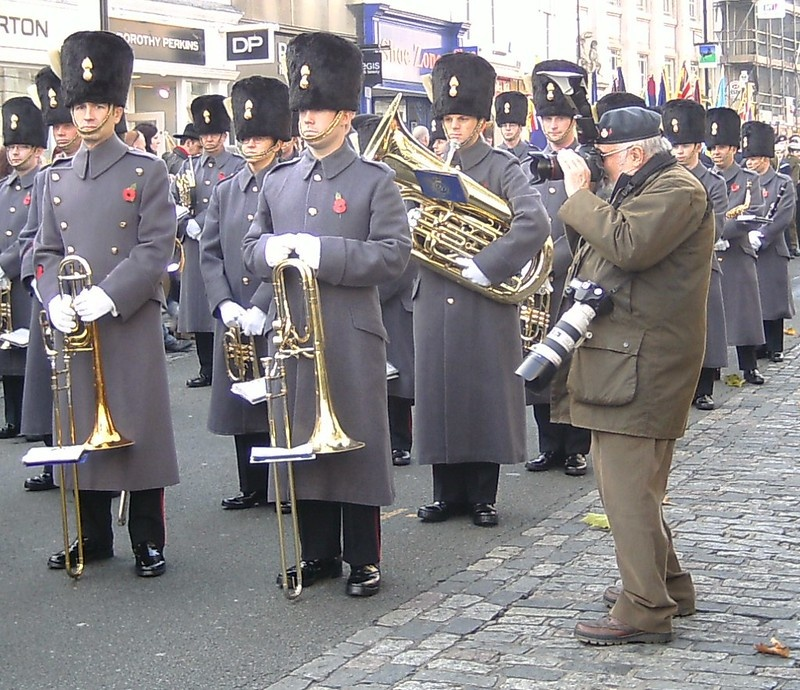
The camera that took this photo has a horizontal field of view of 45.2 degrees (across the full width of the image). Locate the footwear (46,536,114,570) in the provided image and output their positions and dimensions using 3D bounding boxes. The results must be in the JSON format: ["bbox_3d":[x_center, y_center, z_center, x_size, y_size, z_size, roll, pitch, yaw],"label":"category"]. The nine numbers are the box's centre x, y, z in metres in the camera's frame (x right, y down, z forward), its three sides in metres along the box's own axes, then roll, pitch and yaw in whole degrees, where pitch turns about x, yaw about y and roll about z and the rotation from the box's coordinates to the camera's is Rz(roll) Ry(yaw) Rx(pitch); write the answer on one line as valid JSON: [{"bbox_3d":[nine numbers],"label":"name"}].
[{"bbox_3d":[-1.616,1.058,4.907,0.371,0.156,0.128,5,-6,-38],"label":"footwear"}]

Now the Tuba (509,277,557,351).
[{"bbox_3d":[0.913,-0.217,6.738,0.295,0.143,0.457,39,3,-1],"label":"Tuba"}]

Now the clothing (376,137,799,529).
[{"bbox_3d":[0.963,0.013,5.386,1.274,2.935,0.930,1,13,-3],"label":"clothing"}]

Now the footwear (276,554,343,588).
[{"bbox_3d":[-0.462,1.090,4.630,0.355,0.153,0.115,6,-9,-43],"label":"footwear"}]

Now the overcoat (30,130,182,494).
[{"bbox_3d":[-1.514,-0.148,4.705,0.692,1.850,0.537,-3,-1,6],"label":"overcoat"}]

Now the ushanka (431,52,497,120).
[{"bbox_3d":[0.381,-1.529,5.668,0.339,0.371,0.409,3,3,5],"label":"ushanka"}]

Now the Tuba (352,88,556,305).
[{"bbox_3d":[0.316,-0.742,5.381,1.202,0.825,0.466,17,29,-1],"label":"Tuba"}]

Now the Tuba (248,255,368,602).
[{"bbox_3d":[-0.456,0.316,4.312,0.478,1.628,0.633,-4,-2,-5],"label":"Tuba"}]

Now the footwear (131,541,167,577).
[{"bbox_3d":[-1.256,1.072,4.753,0.085,0.099,0.213,0,1,0],"label":"footwear"}]

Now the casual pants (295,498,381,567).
[{"bbox_3d":[-0.298,0.874,4.509,0.357,0.348,0.121,-2,4,17],"label":"casual pants"}]

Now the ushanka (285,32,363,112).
[{"bbox_3d":[-0.333,-1.259,4.474,0.326,0.354,0.400,1,3,2],"label":"ushanka"}]

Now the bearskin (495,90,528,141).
[{"bbox_3d":[1.016,-2.070,8.823,0.268,0.437,0.292,-3,-3,32],"label":"bearskin"}]

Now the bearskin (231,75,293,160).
[{"bbox_3d":[-0.840,-1.429,6.052,0.379,0.435,0.461,0,1,14],"label":"bearskin"}]

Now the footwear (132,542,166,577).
[{"bbox_3d":[-1.253,1.072,4.754,0.084,0.099,0.213,0,1,-1],"label":"footwear"}]

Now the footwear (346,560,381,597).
[{"bbox_3d":[-0.175,1.089,4.443,0.078,0.095,0.219,2,3,14],"label":"footwear"}]

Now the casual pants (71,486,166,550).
[{"bbox_3d":[-1.394,0.869,4.886,0.365,0.474,0.338,2,10,-3],"label":"casual pants"}]

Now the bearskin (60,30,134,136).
[{"bbox_3d":[-1.546,-1.300,4.825,0.367,0.409,0.425,0,-4,-18],"label":"bearskin"}]

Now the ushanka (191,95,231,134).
[{"bbox_3d":[-1.716,-2.028,8.501,0.318,0.343,0.371,-2,11,0],"label":"ushanka"}]

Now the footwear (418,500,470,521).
[{"bbox_3d":[0.243,0.959,5.609,0.316,0.136,0.113,3,-5,-22],"label":"footwear"}]

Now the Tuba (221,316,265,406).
[{"bbox_3d":[-0.904,0.131,5.726,0.233,0.231,0.452,-30,21,-10],"label":"Tuba"}]

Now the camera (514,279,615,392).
[{"bbox_3d":[0.679,-0.003,3.885,0.190,0.477,0.293,31,12,-36],"label":"camera"}]

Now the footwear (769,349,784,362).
[{"bbox_3d":[4.181,0.124,10.662,0.083,0.109,0.257,1,7,20],"label":"footwear"}]

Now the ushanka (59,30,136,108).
[{"bbox_3d":[-1.531,-1.308,4.857,0.389,0.398,0.449,-2,-17,-8],"label":"ushanka"}]

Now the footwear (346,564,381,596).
[{"bbox_3d":[-0.171,1.087,4.453,0.077,0.093,0.216,2,4,14],"label":"footwear"}]

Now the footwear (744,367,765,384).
[{"bbox_3d":[3.533,0.322,9.554,0.098,0.109,0.269,-2,-1,-6],"label":"footwear"}]

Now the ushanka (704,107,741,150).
[{"bbox_3d":[3.480,-2.332,10.553,0.389,0.432,0.483,3,-6,7],"label":"ushanka"}]

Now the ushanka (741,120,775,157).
[{"bbox_3d":[4.351,-2.494,11.737,0.366,0.471,0.500,1,2,14],"label":"ushanka"}]

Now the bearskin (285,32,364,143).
[{"bbox_3d":[-0.334,-1.266,4.573,0.313,0.367,0.407,0,2,4],"label":"bearskin"}]

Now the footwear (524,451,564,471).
[{"bbox_3d":[1.012,0.819,6.754,0.292,0.133,0.110,0,-4,-21],"label":"footwear"}]

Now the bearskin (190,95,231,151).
[{"bbox_3d":[-1.694,-1.972,8.600,0.301,0.476,0.319,-4,0,43],"label":"bearskin"}]

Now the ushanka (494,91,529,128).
[{"bbox_3d":[1.012,-2.169,8.794,0.293,0.347,0.375,3,9,6],"label":"ushanka"}]

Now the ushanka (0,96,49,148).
[{"bbox_3d":[-2.730,-1.592,6.947,0.362,0.401,0.441,-1,4,-6],"label":"ushanka"}]

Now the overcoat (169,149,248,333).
[{"bbox_3d":[-2.109,-1.100,9.799,0.782,1.967,0.554,8,29,-8],"label":"overcoat"}]

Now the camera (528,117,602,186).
[{"bbox_3d":[0.702,-0.819,4.104,0.269,0.336,0.139,-1,9,-1],"label":"camera"}]

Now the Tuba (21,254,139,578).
[{"bbox_3d":[-1.576,0.262,4.605,0.527,2.204,0.342,-1,-4,-36],"label":"Tuba"}]

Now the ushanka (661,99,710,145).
[{"bbox_3d":[2.694,-2.022,8.634,0.453,0.408,0.341,-7,21,-14],"label":"ushanka"}]

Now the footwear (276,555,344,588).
[{"bbox_3d":[-0.423,1.091,4.628,0.347,0.150,0.113,6,-10,-43],"label":"footwear"}]

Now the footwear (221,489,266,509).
[{"bbox_3d":[-0.960,0.943,5.913,0.297,0.135,0.104,4,-2,-17],"label":"footwear"}]

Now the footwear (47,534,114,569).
[{"bbox_3d":[-1.616,1.053,4.907,0.369,0.156,0.128,4,-6,-38],"label":"footwear"}]
